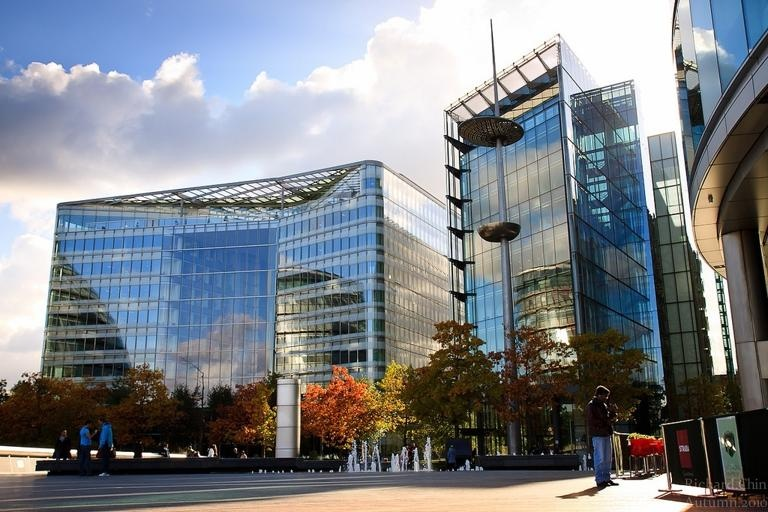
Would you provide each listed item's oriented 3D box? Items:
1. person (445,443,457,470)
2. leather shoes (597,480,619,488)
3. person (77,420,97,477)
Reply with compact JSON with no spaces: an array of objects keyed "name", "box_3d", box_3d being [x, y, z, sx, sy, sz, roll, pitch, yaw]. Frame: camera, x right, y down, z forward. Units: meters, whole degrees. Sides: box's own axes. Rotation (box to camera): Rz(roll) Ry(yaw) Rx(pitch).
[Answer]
[{"name":"person","box_3d":[3.735,11.182,40.423,0.513,1.352,0.677,-5,-19,4]},{"name":"leather shoes","box_3d":[6.264,6.309,20.155,0.656,0.266,0.218,-2,-15,-8]},{"name":"person","box_3d":[-11.985,7.606,28.877,0.513,2.095,1.378,4,-20,-21]}]
